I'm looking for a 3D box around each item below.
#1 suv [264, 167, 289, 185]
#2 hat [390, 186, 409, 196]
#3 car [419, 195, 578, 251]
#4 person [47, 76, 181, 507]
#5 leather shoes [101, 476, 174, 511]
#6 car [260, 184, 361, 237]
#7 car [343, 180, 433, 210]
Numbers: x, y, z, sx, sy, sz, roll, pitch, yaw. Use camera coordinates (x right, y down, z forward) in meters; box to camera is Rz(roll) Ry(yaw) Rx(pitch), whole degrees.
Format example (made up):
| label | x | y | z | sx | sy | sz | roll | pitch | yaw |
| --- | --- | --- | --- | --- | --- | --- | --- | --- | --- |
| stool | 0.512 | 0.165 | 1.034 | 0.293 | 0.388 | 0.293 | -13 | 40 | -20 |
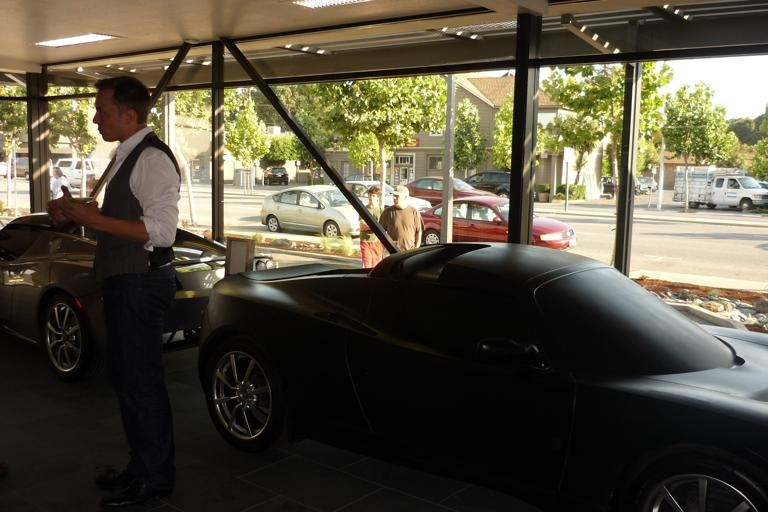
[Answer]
| label | x | y | z | sx | sy | sz | roll | pitch | yaw |
| --- | --- | --- | --- | --- | --- | --- | --- | --- | --- |
| suv | -10.320 | -7.614 | 50.639 | 2.066 | 1.501 | 1.638 | -4 | 12 | -29 |
| hat | 0.321 | -1.117 | 9.085 | 0.183 | 0.109 | 0.277 | 4 | 3 | 37 |
| car | 3.239 | -0.918 | 15.093 | 4.625 | 1.430 | 1.932 | 0 | 5 | 28 |
| person | -1.834 | 0.255 | 3.808 | 0.648 | 3.058 | 0.744 | 10 | 13 | 40 |
| leather shoes | -1.825 | 1.737 | 3.870 | 0.347 | 0.116 | 0.234 | 11 | 3 | -21 |
| car | -2.524 | -1.642 | 18.518 | 3.554 | 1.215 | 1.724 | 5 | 10 | 36 |
| car | 0.199 | -2.124 | 20.631 | 3.918 | 1.239 | 1.681 | 4 | 12 | 28 |
